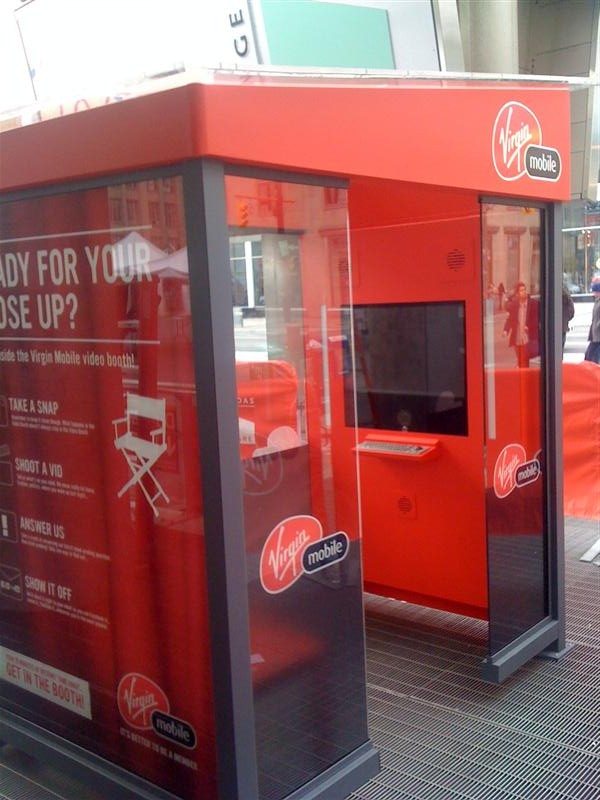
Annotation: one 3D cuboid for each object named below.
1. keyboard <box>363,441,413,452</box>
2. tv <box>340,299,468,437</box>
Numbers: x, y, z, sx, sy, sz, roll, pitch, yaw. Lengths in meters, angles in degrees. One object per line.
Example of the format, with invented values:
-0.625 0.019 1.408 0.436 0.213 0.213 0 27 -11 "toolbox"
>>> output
0.485 0.259 3.610 0.160 0.018 0.061 -4 42 32 "keyboard"
0.554 -0.171 3.304 0.029 0.714 0.670 -13 15 -40 "tv"
